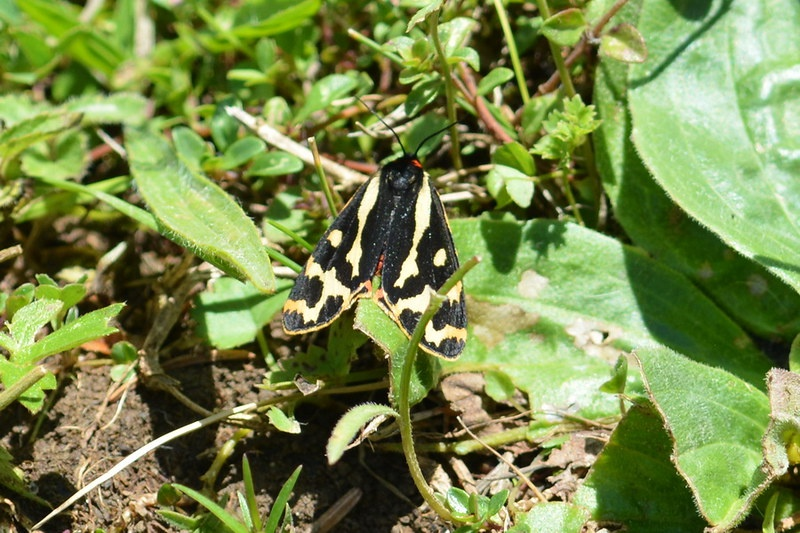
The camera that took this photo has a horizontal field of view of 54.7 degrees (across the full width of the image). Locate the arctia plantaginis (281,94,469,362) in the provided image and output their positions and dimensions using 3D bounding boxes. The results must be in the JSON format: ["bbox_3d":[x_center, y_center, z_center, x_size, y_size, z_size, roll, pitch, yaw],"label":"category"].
[{"bbox_3d":[-0.048,-0.107,2.788,0.550,0.258,0.761,10,67,5],"label":"arctia plantaginis"}]
